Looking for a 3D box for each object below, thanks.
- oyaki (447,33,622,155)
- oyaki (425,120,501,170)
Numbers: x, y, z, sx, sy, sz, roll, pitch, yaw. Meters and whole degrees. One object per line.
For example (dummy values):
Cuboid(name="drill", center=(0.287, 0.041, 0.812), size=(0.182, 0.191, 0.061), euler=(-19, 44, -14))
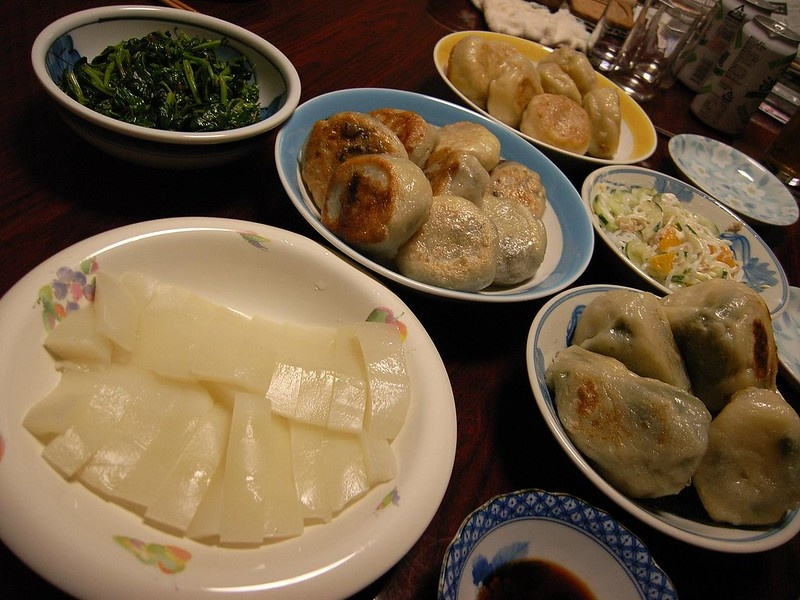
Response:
Cuboid(name="oyaki", center=(0.553, -0.876, 2.733), size=(0.511, 0.604, 0.814), euler=(-15, 25, -36))
Cuboid(name="oyaki", center=(0.221, -0.602, 2.374), size=(0.267, 0.176, 0.231), euler=(-4, 20, -12))
